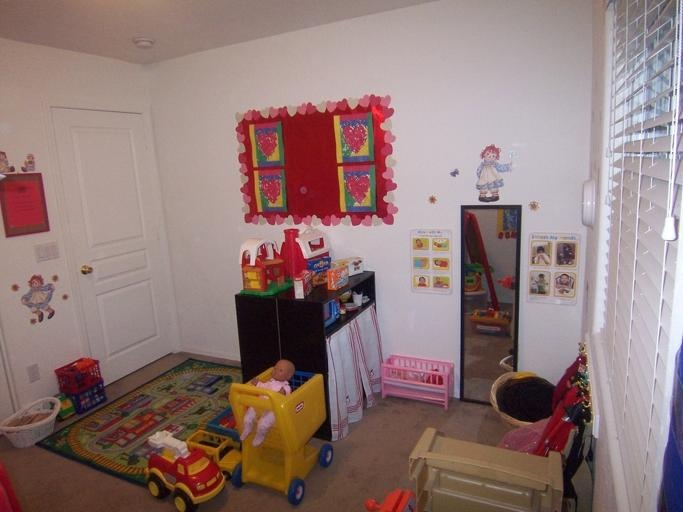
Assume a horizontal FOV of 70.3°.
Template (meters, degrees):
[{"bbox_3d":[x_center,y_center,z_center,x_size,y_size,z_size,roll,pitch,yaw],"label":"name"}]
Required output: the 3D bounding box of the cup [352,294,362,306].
[{"bbox_3d":[0.111,0.313,3.475,0.062,0.080,0.080,-1,-7,5],"label":"cup"}]

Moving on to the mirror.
[{"bbox_3d":[1.017,0.168,3.382,0.400,0.026,1.437,3,49,14],"label":"mirror"}]

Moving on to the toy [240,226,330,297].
[{"bbox_3d":[-0.394,-0.055,3.369,0.490,0.355,0.506,3,14,17],"label":"toy"}]

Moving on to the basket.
[{"bbox_3d":[1.108,0.894,2.978,0.351,0.241,0.410,0,9,24],"label":"basket"}]

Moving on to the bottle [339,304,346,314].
[{"bbox_3d":[0.006,0.382,3.421,0.043,0.045,0.044,2,6,8],"label":"bottle"}]
